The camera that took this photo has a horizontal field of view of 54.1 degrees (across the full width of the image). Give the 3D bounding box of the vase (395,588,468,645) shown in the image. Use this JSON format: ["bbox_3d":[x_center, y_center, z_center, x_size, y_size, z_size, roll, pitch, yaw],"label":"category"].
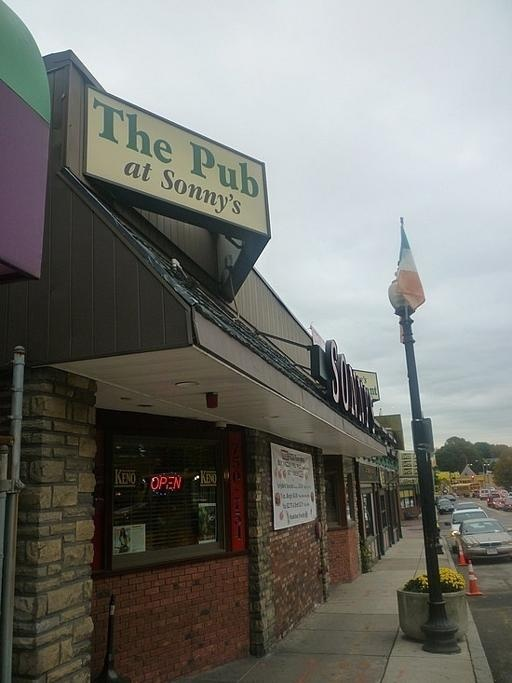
[{"bbox_3d":[2.618,3.998,7.446,0.805,0.695,0.875,6,-23,-13],"label":"vase"}]

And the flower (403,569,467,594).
[{"bbox_3d":[2.852,3.747,7.799,0.586,0.273,0.639,-20,-27,40],"label":"flower"}]
